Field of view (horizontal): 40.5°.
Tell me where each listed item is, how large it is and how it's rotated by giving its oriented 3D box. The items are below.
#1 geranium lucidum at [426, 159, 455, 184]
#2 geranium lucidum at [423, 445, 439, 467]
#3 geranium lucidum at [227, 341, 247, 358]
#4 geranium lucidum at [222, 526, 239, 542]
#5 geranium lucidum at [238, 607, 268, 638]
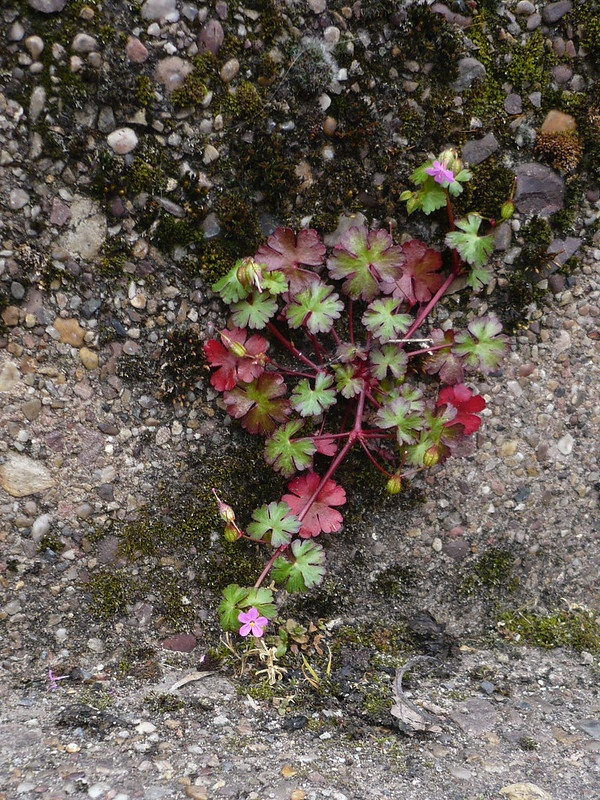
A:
[{"bbox_3d":[0.502,-0.810,2.895,0.094,0.034,0.090,-29,71,-7],"label":"geranium lucidum"},{"bbox_3d":[0.477,0.202,2.977,0.055,0.037,0.074,-2,85,2],"label":"geranium lucidum"},{"bbox_3d":[-0.232,-0.184,2.946,0.076,0.109,0.049,4,85,3],"label":"geranium lucidum"},{"bbox_3d":[-0.236,0.468,2.858,0.056,0.078,0.065,13,86,3],"label":"geranium lucidum"},{"bbox_3d":[-0.167,0.760,2.801,0.096,0.209,0.093,11,86,3],"label":"geranium lucidum"}]
